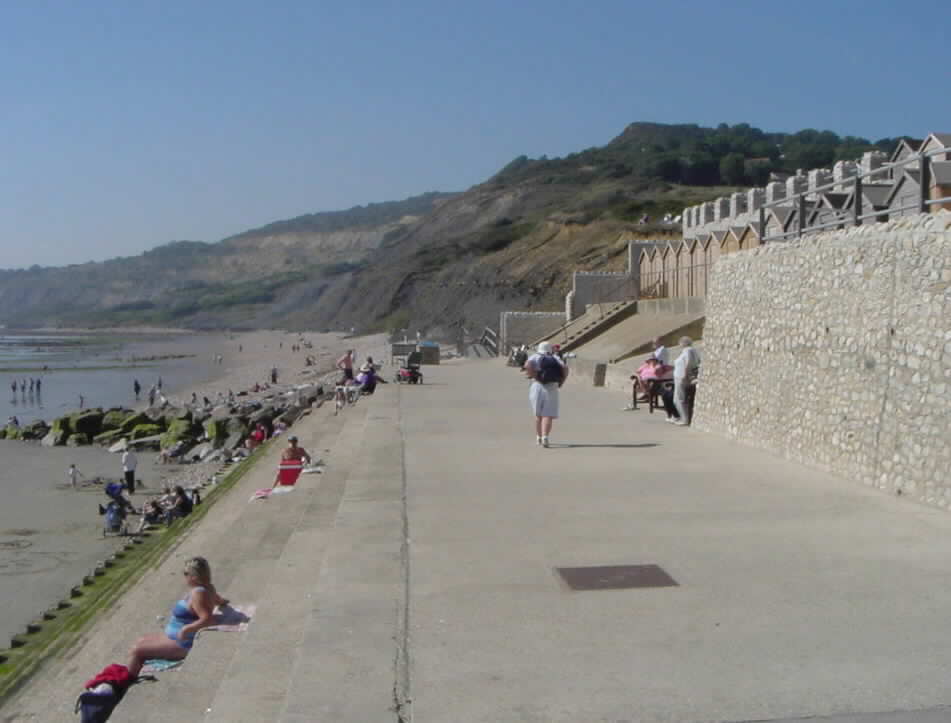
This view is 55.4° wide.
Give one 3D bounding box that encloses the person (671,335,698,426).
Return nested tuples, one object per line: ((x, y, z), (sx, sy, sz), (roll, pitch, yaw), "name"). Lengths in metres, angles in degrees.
((3.399, 0.285, 14.610), (0.396, 1.491, 1.035), (1, 9, 12), "person")

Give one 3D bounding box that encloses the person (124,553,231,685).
((-2.423, 2.009, 7.204), (0.680, 0.808, 0.404), (-4, 9, -17), "person")

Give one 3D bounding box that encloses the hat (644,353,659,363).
((3.778, -0.070, 19.522), (0.294, 0.145, 0.464), (4, 3, 13), "hat")

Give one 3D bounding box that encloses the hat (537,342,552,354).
((0.900, -0.179, 12.265), (0.218, 0.219, 0.171), (1, 2, 35), "hat")
